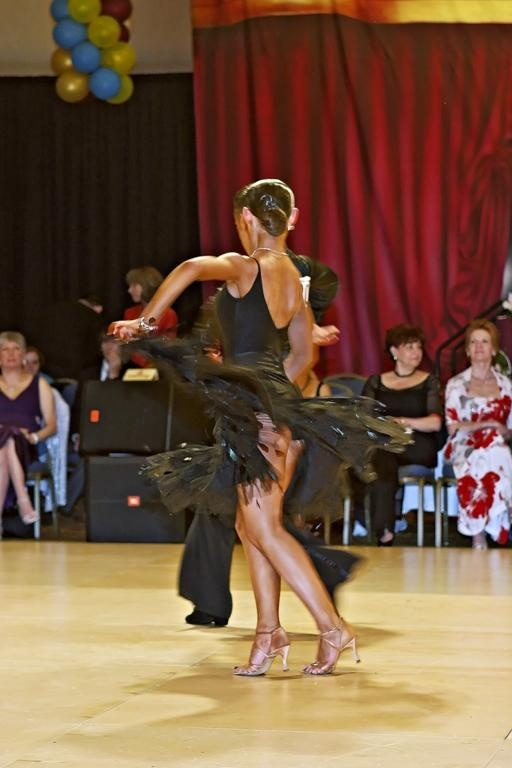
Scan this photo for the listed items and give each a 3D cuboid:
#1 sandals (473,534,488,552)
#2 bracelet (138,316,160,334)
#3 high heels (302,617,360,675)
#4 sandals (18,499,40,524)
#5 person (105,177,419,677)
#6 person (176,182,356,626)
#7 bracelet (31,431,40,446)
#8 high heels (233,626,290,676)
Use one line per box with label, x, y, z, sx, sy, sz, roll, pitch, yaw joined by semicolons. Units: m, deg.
sandals;1.189;0.824;3.930;0.081;0.087;0.204;-1;-2;16
bracelet;-0.228;-0.122;1.554;0.029;0.038;0.036;21;-29;32
high heels;0.178;0.590;1.690;0.136;0.131;0.097;0;-2;-6
sandals;-1.315;0.735;4.247;0.075;0.091;0.216;-8;3;-25
person;-0.005;0.086;1.818;0.793;1.102;0.603;7;-6;-43
person;0.030;0.079;2.378;0.603;1.382;0.530;2;14;-15
bracelet;-1.303;0.316;4.366;0.049;0.058;0.022;-2;-5;-6
high heels;0.017;0.612;1.722;0.159;0.108;0.075;-1;-2;-13
